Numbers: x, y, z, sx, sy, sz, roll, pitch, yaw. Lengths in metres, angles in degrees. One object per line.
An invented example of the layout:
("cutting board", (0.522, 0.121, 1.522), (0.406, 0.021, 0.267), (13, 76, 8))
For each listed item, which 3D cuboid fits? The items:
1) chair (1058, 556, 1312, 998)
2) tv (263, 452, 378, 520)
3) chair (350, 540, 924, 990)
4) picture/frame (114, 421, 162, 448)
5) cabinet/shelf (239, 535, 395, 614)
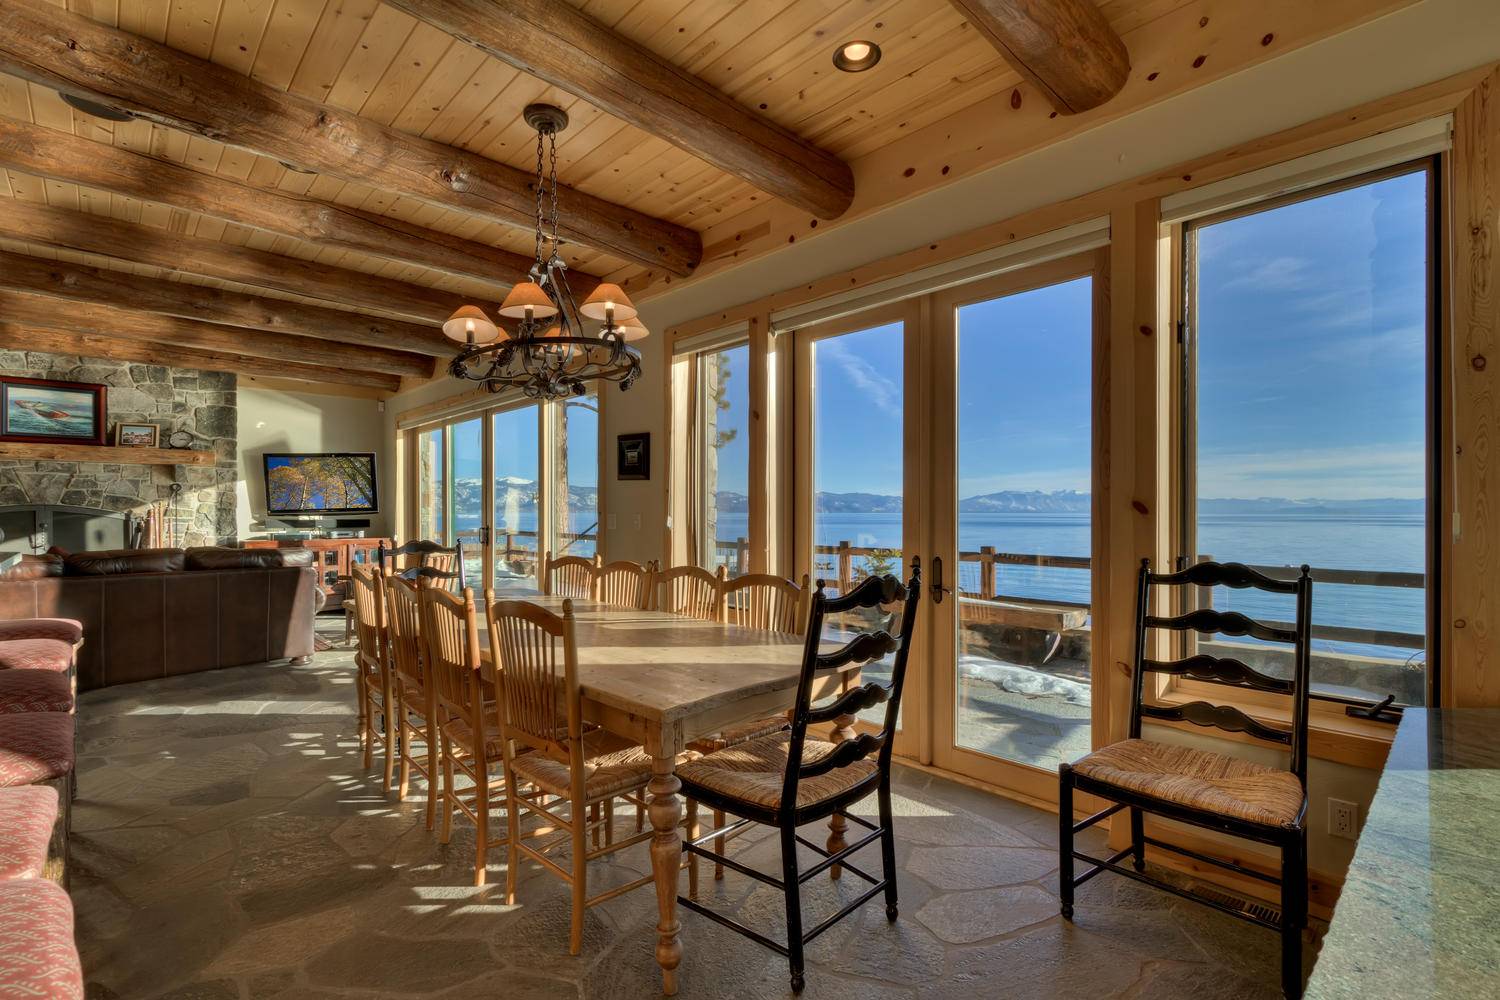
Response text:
("chair", (1.839, 1.065, 3.912), (0.915, 1.603, 0.877), (0, -1, 28))
("tv", (-5.029, -0.161, 10.607), (0.979, 0.554, 0.072), (1, -6, -33))
("chair", (-0.544, 1.224, 4.398), (1.369, 1.483, 2.538), (1, -6, -38))
("picture/frame", (-6.212, -0.655, 9.278), (0.333, 0.201, 0.043), (4, -15, -41))
("cabinet/shelf", (-3.594, 0.619, 7.516), (1.050, 0.467, 0.304), (0, -7, -2))
